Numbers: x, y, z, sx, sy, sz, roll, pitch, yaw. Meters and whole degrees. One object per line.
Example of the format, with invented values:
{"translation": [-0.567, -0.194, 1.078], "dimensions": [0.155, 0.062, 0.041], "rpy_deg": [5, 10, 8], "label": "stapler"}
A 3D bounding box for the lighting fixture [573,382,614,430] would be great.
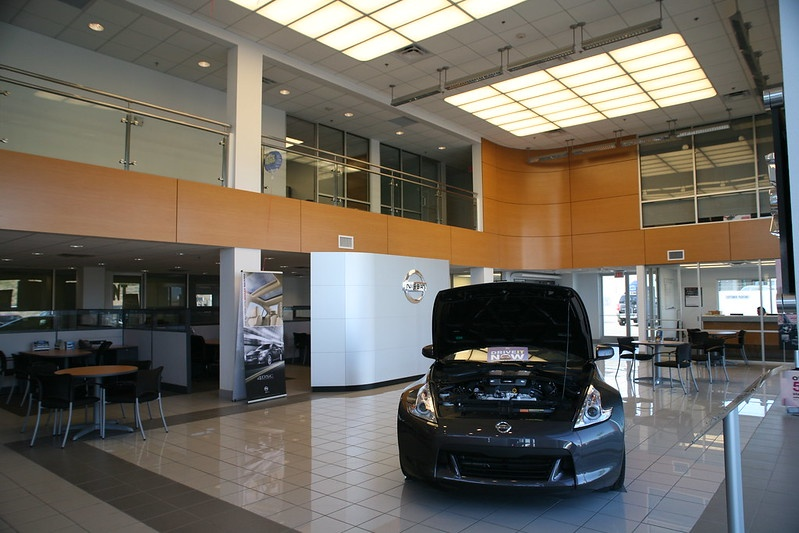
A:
{"translation": [2.246, 1.634, 6.193], "dimensions": [0.282, 0.356, 0.539], "rpy_deg": [2, 7, 36], "label": "lighting fixture"}

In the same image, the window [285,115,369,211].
{"translation": [-1.887, -2.925, 14.764], "dimensions": [2.102, 2.749, 4.930], "rpy_deg": [-3, 6, -7], "label": "window"}

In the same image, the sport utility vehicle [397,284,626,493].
{"translation": [1.667, 1.325, 7.908], "dimensions": [2.783, 1.769, 4.333], "rpy_deg": [-3, 8, 15], "label": "sport utility vehicle"}

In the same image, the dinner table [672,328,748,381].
{"translation": [7.792, 2.238, 13.477], "dimensions": [1.213, 1.244, 1.189], "rpy_deg": [-18, 7, -38], "label": "dinner table"}

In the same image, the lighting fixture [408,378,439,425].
{"translation": [0.287, 1.659, 6.560], "dimensions": [0.308, 0.304, 0.649], "rpy_deg": [-2, 5, 0], "label": "lighting fixture"}

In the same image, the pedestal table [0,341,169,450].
{"translation": [-5.090, 2.135, 9.316], "dimensions": [1.994, 0.789, 1.686], "rpy_deg": [0, -7, -14], "label": "pedestal table"}

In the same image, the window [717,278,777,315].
{"translation": [9.937, 0.876, 15.339], "dimensions": [1.437, 0.804, 0.804], "rpy_deg": [-4, -8, 42], "label": "window"}

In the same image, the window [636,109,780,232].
{"translation": [9.111, -2.627, 16.449], "dimensions": [0.153, 2.899, 4.237], "rpy_deg": [-6, 3, -31], "label": "window"}
